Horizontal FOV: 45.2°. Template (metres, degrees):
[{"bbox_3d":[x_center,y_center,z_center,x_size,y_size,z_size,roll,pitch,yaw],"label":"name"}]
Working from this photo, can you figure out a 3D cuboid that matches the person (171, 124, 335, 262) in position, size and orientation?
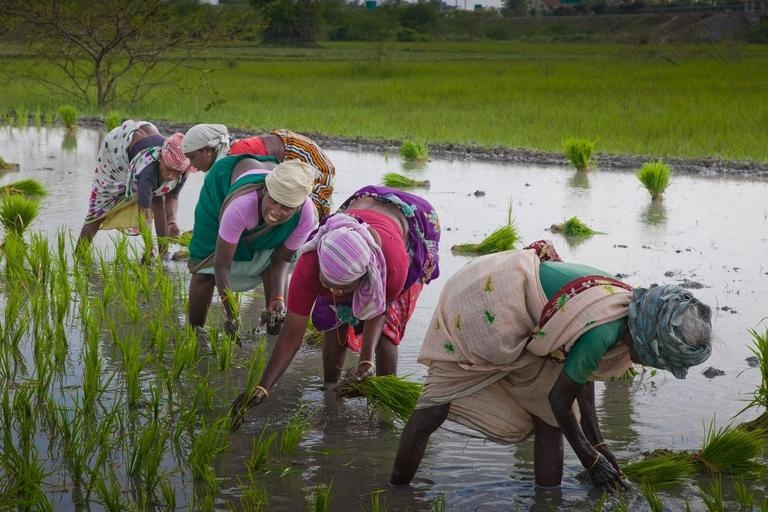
[{"bbox_3d":[-1.448,-0.913,10.877,1.877,1.274,1.162,-4,-3,-33],"label":"person"}]

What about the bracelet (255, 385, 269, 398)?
[{"bbox_3d":[-1.191,1.293,8.885,0.108,0.109,0.042,0,8,-9],"label":"bracelet"}]

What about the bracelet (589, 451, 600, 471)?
[{"bbox_3d":[1.920,1.857,8.384,0.031,0.127,0.131,11,6,7],"label":"bracelet"}]
